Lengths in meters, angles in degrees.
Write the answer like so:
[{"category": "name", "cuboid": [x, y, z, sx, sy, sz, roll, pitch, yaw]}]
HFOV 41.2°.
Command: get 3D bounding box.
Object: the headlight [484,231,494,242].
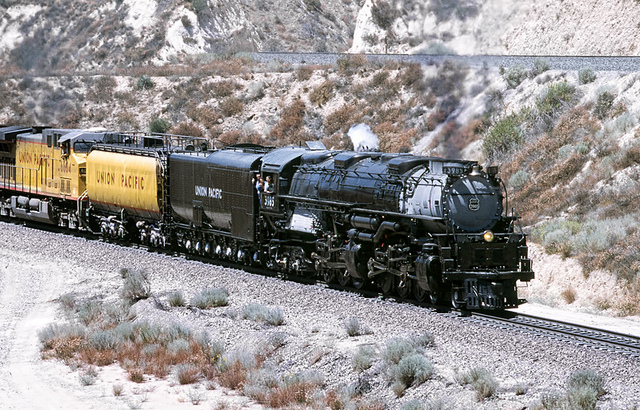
[{"category": "headlight", "cuboid": [7.307, 1.394, 36.896, 0.383, 0.418, 0.228, -4, -2, -12]}]
